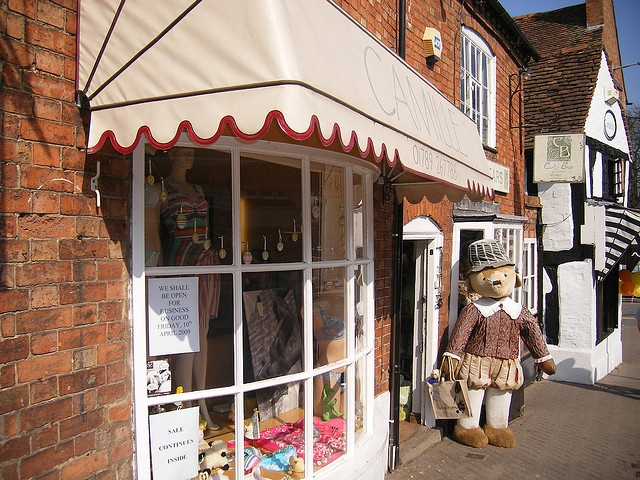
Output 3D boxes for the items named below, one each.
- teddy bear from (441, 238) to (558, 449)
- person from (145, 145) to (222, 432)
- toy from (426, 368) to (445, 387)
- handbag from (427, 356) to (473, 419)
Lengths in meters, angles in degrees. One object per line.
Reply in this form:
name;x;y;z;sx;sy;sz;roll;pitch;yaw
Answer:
teddy bear;2.210;1.367;6.936;1.450;2.501;0.644;-2;-1;-21
person;-0.993;0.403;4.085;0.528;2.533;0.338;-9;16;-34
toy;1.492;1.799;6.852;0.094;0.292;0.212;11;11;1
handbag;1.650;1.913;6.860;0.440;0.120;0.863;-6;45;7
